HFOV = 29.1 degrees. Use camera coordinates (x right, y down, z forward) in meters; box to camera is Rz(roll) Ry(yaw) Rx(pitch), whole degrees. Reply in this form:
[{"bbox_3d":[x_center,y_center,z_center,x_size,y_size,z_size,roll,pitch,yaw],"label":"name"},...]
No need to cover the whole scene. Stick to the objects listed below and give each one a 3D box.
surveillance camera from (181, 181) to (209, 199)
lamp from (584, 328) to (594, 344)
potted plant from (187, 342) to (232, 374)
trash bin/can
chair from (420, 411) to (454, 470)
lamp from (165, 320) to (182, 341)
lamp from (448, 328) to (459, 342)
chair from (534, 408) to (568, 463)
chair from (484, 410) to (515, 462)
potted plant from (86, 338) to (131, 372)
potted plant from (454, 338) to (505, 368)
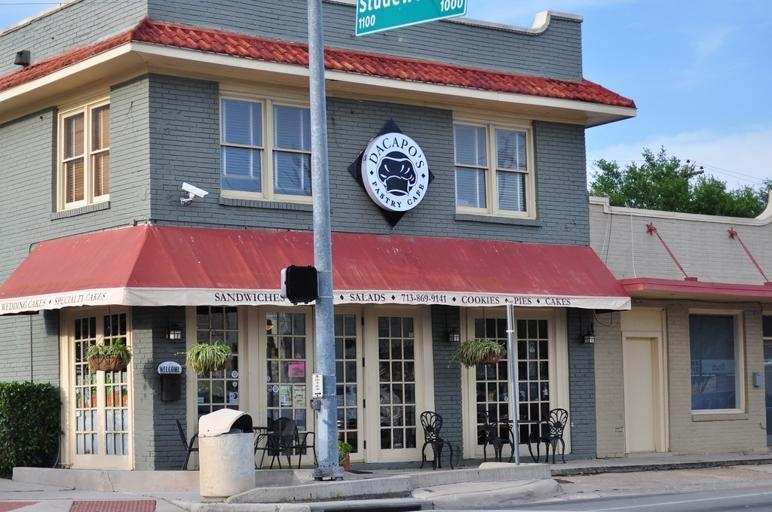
[{"bbox_3d":[-4.222,-1.482,33.076,0.598,0.383,0.379,-1,-12,-8],"label":"surveillance camera"},{"bbox_3d":[4.964,1.972,36.503,0.276,0.375,0.140,1,-13,-18],"label":"lamp"},{"bbox_3d":[-3.835,2.220,32.417,0.716,0.446,0.709,1,-1,-36],"label":"potted plant"},{"bbox_3d":[-3.238,4.065,30.440,1.102,1.828,0.444,0,-12,-13],"label":"trash bin/can"},{"bbox_3d":[1.169,4.315,34.725,0.763,1.344,0.693,-3,-12,1],"label":"chair"},{"bbox_3d":[-4.690,1.663,32.799,0.393,0.489,0.248,5,-10,-41],"label":"lamp"},{"bbox_3d":[1.624,1.879,35.203,0.286,0.304,0.300,-2,2,-1],"label":"lamp"},{"bbox_3d":[3.995,4.320,35.603,0.874,1.345,1.003,-3,-12,3],"label":"chair"},{"bbox_3d":[2.792,4.214,35.269,0.698,1.120,0.657,-6,2,5],"label":"chair"},{"bbox_3d":[-6.086,2.196,33.020,0.930,0.775,0.966,-2,-12,-2],"label":"potted plant"},{"bbox_3d":[2.254,2.240,35.030,1.115,0.678,0.873,4,-14,-28],"label":"potted plant"}]
